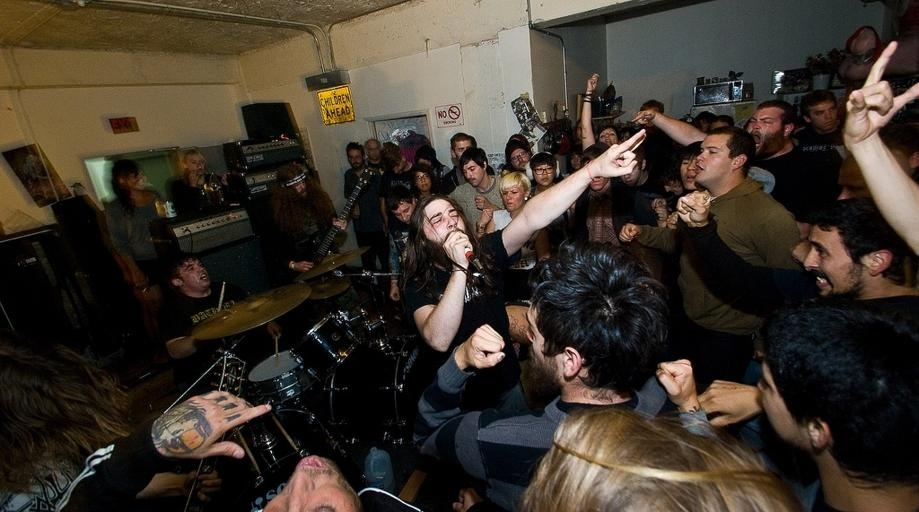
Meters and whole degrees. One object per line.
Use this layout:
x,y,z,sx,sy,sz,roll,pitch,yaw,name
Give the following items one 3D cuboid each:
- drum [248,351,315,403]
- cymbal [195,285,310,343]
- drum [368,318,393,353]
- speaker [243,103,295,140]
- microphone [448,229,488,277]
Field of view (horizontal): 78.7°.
-1.919,1.256,5.815,0.524,0.426,0.533,-9,20,3,drum
-2.170,0.578,5.825,0.776,0.157,0.727,-17,15,5,cymbal
-0.889,0.852,6.144,0.203,0.275,0.468,-15,20,-11,drum
-2.953,-2.057,8.618,0.324,0.610,0.716,-9,4,36,speaker
0.007,-0.036,5.005,0.169,0.254,0.479,-36,60,-25,microphone
